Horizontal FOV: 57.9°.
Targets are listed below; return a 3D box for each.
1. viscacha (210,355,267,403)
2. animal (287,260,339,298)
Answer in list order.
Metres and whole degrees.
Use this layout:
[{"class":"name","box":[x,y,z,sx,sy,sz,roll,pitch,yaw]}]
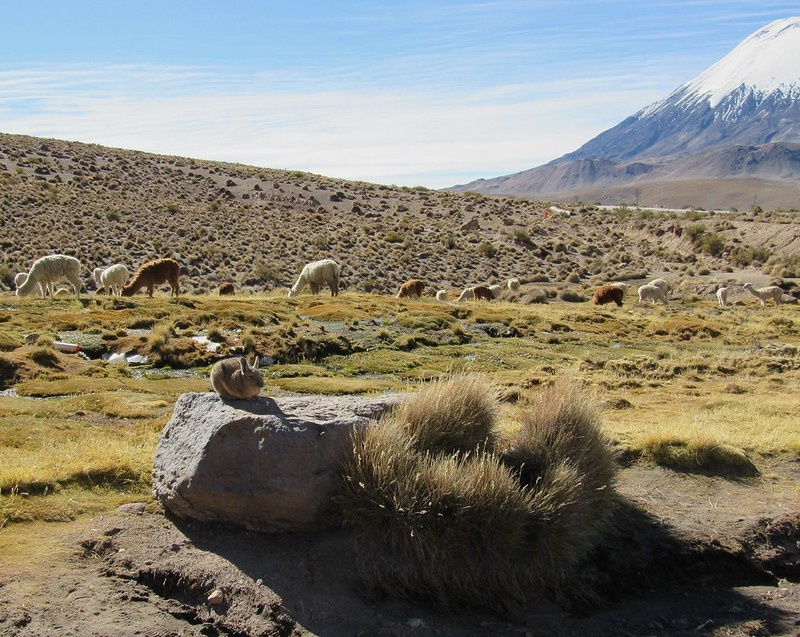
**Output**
[{"class":"viscacha","box":[-2.231,0.807,10.028,0.766,0.646,0.432,13,14,40]},{"class":"animal","box":[-3.830,-1.933,34.668,2.120,1.738,1.810,6,10,8]}]
